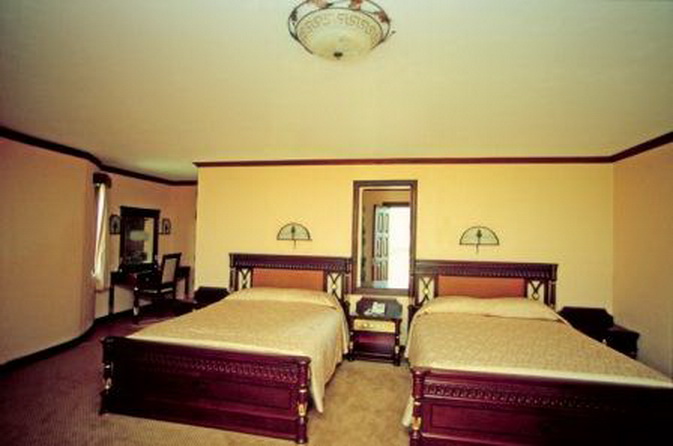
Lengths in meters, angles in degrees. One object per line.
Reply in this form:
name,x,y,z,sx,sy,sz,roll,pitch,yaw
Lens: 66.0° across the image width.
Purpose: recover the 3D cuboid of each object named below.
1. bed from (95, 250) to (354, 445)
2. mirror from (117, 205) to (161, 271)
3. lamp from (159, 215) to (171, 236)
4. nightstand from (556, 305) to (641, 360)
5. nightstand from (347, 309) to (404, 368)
bed,-1.191,1.390,6.735,2.665,1.917,2.564,-1,-2,6
mirror,-3.543,0.272,9.183,0.166,1.490,1.214,3,-1,19
lamp,-3.292,0.052,9.886,0.132,0.391,0.408,0,1,10
nightstand,3.492,1.410,6.869,0.849,0.780,0.591,-2,-6,33
nightstand,0.588,1.631,7.496,0.848,0.665,0.656,-1,-8,13
